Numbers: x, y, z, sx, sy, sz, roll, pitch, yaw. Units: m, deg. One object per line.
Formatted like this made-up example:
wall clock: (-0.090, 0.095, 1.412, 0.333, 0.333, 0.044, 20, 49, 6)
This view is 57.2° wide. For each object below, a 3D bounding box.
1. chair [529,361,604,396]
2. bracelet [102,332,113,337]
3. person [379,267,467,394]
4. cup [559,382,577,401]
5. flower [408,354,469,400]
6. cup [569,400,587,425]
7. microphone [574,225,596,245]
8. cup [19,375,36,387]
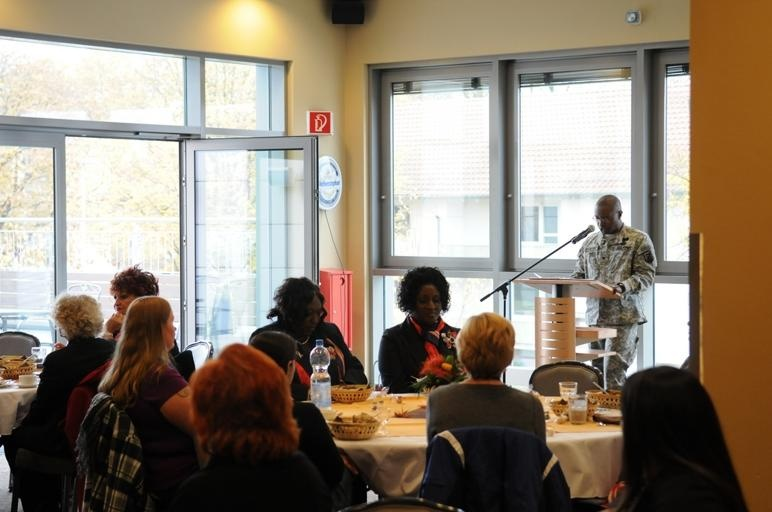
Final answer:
chair: (1.172, 0.779, 4.674, 0.415, 0.213, 0.407, 3, 2, 2)
bracelet: (-1.984, 0.562, 5.053, 0.041, 0.020, 0.052, 1, 0, 1)
person: (0.254, 0.578, 4.754, 0.587, 0.967, 0.675, -7, -10, 27)
cup: (1.050, 0.778, 4.078, 0.100, 0.103, 0.096, -1, -1, 0)
flower: (0.317, 0.714, 4.124, 0.254, 0.196, 0.255, 3, -15, -10)
cup: (1.033, 0.833, 3.809, 0.117, 0.129, 0.116, 0, -3, 0)
microphone: (1.786, -0.187, 6.325, 0.245, 0.079, 0.092, -36, -32, 32)
cup: (-2.447, 0.852, 4.827, 0.084, 0.040, 0.089, -1, -6, 0)
